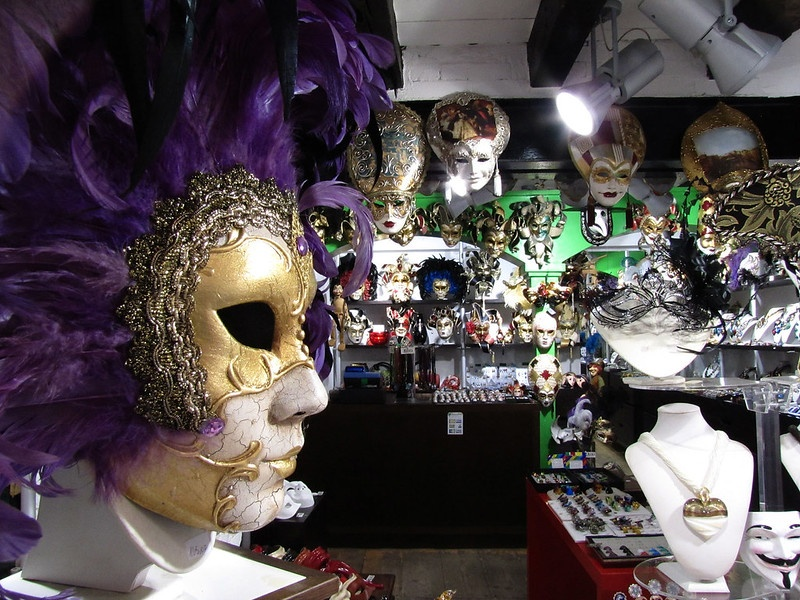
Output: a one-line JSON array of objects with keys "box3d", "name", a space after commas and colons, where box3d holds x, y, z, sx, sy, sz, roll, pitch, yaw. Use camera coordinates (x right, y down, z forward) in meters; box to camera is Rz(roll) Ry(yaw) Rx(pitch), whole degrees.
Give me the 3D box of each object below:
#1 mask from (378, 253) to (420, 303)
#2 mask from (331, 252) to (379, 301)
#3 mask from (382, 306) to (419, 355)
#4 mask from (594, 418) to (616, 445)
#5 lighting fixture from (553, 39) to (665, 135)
[{"box3d": [-0.016, -0.158, 5.194, 0.393, 0.537, 0.239, 0, -12, -6], "name": "mask"}, {"box3d": [-0.329, -0.131, 4.593, 0.337, 0.392, 0.190, 4, -5, 8], "name": "mask"}, {"box3d": [0.006, 0.220, 5.031, 0.219, 0.385, 0.094, 0, -14, 2], "name": "mask"}, {"box3d": [1.354, 0.870, 4.295, 0.129, 0.171, 0.198, 4, 7, 20], "name": "mask"}, {"box3d": [0.803, -0.825, 2.510, 0.449, 0.247, 0.171, -2, -2, -20], "name": "lighting fixture"}]
